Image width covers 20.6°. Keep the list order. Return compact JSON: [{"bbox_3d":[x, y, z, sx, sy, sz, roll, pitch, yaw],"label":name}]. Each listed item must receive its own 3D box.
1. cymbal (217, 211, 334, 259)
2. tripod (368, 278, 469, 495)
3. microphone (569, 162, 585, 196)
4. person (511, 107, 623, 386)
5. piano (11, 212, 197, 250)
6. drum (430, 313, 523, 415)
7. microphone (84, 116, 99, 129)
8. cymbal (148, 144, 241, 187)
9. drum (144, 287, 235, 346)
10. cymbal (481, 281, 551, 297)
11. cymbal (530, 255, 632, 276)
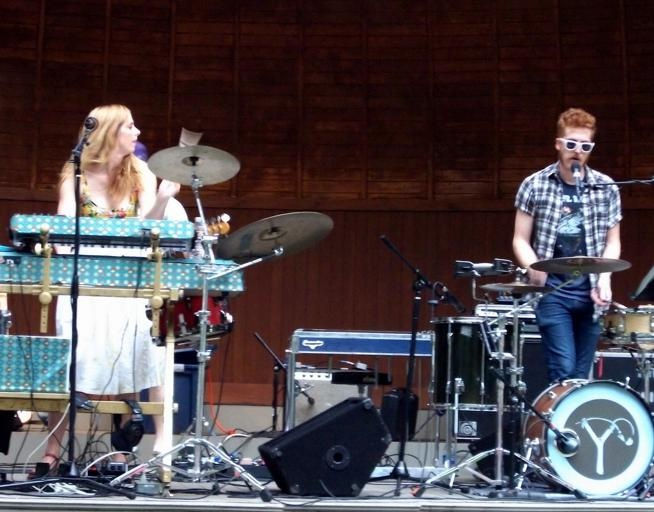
[{"bbox_3d":[-0.416,-0.162,12.583,0.727,0.338,0.522,3,1,-23],"label":"cymbal"},{"bbox_3d":[0.601,0.887,13.212,0.676,1.432,0.603,5,4,5],"label":"tripod"},{"bbox_3d":[1.764,-0.571,12.601,0.094,0.065,0.268,13,28,-8],"label":"microphone"},{"bbox_3d":[1.747,-0.108,12.977,0.931,1.797,0.757,2,6,0],"label":"person"},{"bbox_3d":[-1.565,-0.181,12.276,1.222,0.223,0.650,2,0,-20],"label":"piano"},{"bbox_3d":[1.085,0.752,12.995,0.686,0.579,0.483,1,2,1],"label":"drum"},{"bbox_3d":[-1.662,-0.915,12.438,0.092,0.096,0.180,2,-4,-7],"label":"microphone"},{"bbox_3d":[-0.961,-0.647,12.625,0.638,0.229,0.328,1,-4,-5],"label":"cymbal"},{"bbox_3d":[-0.901,0.380,12.628,0.367,0.251,0.231,-17,8,-18],"label":"drum"},{"bbox_3d":[1.361,0.207,12.447,0.237,0.066,0.228,-3,6,-42],"label":"cymbal"},{"bbox_3d":[1.749,0.057,12.375,0.602,0.117,0.352,-2,-5,34],"label":"cymbal"}]
